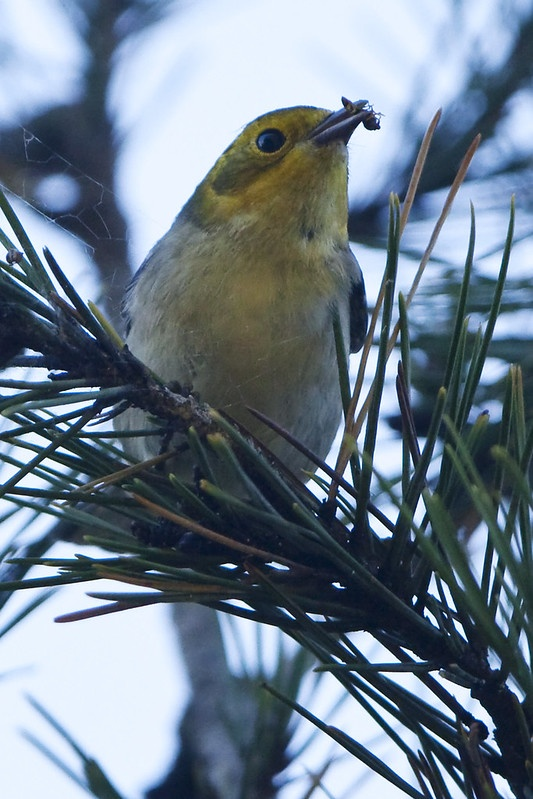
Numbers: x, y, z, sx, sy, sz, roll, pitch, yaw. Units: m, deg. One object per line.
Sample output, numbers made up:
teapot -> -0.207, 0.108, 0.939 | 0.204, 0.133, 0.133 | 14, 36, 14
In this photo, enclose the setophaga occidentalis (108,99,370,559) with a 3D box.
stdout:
setophaga occidentalis -> -0.071, -0.125, 2.161 | 0.464, 0.694, 0.908 | 3, -3, -21
